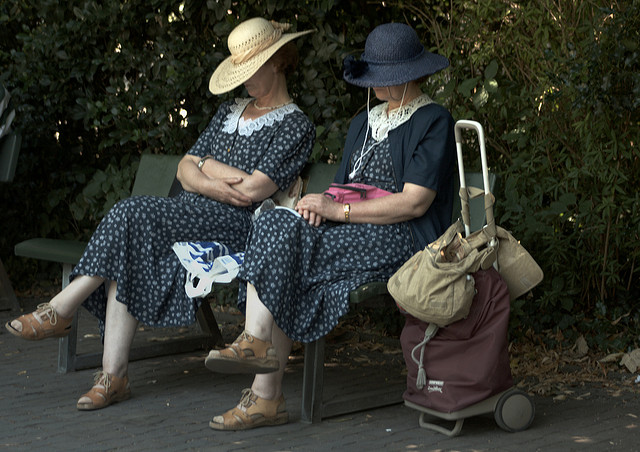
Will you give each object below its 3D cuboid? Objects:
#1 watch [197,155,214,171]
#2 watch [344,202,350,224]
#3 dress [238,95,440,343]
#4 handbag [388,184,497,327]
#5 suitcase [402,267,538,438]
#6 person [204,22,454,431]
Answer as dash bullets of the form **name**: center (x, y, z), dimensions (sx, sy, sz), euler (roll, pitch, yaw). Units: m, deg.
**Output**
- **watch**: center (-0.753, -0.407, 4.267), dimensions (0.023, 0.095, 0.081), euler (25, -25, -18)
- **watch**: center (0.146, -0.076, 3.615), dimensions (0.038, 0.085, 0.075), euler (3, -14, 6)
- **dress**: center (0.015, -0.099, 3.996), dimensions (1.242, 1.501, 0.993), euler (0, 5, -32)
- **handbag**: center (0.620, 0.165, 3.301), dimensions (0.549, 0.689, 0.307), euler (1, 6, 9)
- **suitcase**: center (0.704, 0.631, 3.502), dimensions (0.472, 0.929, 0.667), euler (-2, -1, -33)
- **person**: center (0.114, -0.050, 3.555), dimensions (1.398, 2.160, 0.604), euler (-6, 8, -40)
